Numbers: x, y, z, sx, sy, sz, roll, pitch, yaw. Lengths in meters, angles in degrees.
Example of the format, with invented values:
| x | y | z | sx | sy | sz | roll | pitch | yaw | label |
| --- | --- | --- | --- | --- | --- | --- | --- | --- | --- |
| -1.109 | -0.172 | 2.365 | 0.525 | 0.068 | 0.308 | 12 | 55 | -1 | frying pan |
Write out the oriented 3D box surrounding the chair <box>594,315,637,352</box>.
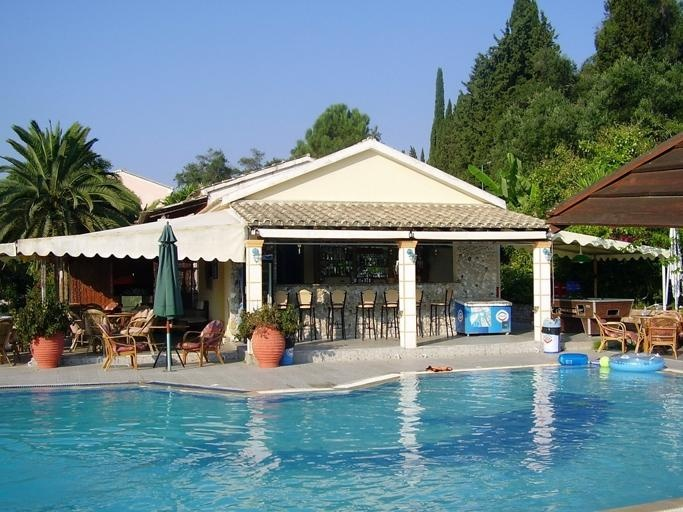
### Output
| x | y | z | sx | sy | sz | roll | pitch | yaw | label |
| --- | --- | --- | --- | --- | --- | --- | --- | --- | --- |
| 8.092 | 2.239 | 18.453 | 1.126 | 1.020 | 1.021 | 2 | 8 | 29 | chair |

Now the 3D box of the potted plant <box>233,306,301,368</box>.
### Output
| x | y | z | sx | sy | sz | roll | pitch | yaw | label |
| --- | --- | --- | --- | --- | --- | --- | --- | --- | --- |
| -1.952 | 2.096 | 16.451 | 1.474 | 1.563 | 1.268 | -5 | -19 | 9 | potted plant |

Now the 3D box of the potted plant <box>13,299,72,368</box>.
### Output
| x | y | z | sx | sy | sz | roll | pitch | yaw | label |
| --- | --- | --- | --- | --- | --- | --- | --- | --- | --- |
| -7.470 | 1.920 | 15.593 | 1.213 | 1.800 | 0.666 | -2 | 4 | -26 | potted plant |

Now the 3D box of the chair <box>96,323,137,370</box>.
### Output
| x | y | z | sx | sy | sz | roll | pitch | yaw | label |
| --- | --- | --- | --- | --- | --- | --- | --- | --- | --- |
| -5.590 | 2.210 | 15.629 | 1.001 | 1.032 | 0.793 | 0 | 3 | -30 | chair |

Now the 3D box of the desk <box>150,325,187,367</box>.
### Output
| x | y | z | sx | sy | sz | roll | pitch | yaw | label |
| --- | --- | --- | --- | --- | --- | --- | --- | --- | --- |
| -4.959 | 2.747 | 18.329 | 0.776 | 0.908 | 0.795 | 14 | -24 | -8 | desk |

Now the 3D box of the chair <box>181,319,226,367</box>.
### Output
| x | y | z | sx | sy | sz | roll | pitch | yaw | label |
| --- | --- | --- | --- | --- | --- | --- | --- | --- | --- |
| -3.693 | 2.268 | 16.524 | 1.087 | 1.184 | 1.159 | -1 | -5 | 3 | chair |

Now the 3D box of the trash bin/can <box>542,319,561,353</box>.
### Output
| x | y | z | sx | sy | sz | roll | pitch | yaw | label |
| --- | --- | --- | --- | --- | --- | --- | --- | --- | --- |
| 6.156 | 2.319 | 18.226 | 0.508 | 0.980 | 0.506 | 1 | 4 | 10 | trash bin/can |
